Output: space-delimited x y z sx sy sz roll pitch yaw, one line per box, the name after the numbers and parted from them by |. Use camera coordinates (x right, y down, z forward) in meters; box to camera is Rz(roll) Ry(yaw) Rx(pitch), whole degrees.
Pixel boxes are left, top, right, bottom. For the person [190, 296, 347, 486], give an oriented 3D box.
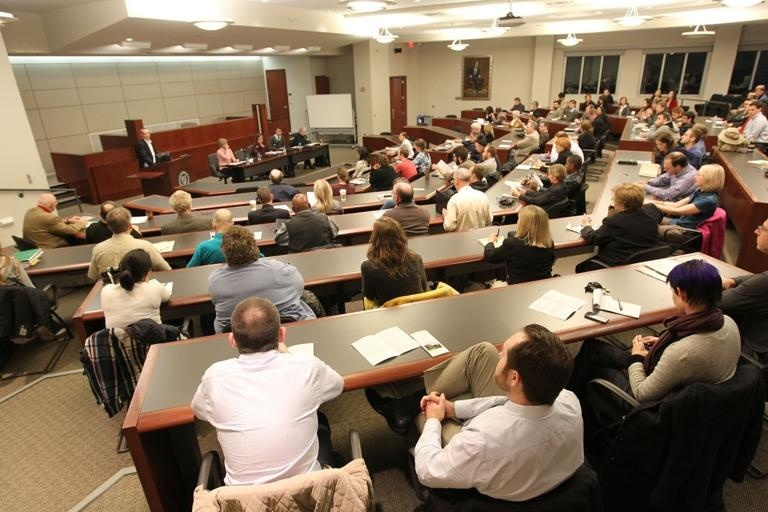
-0.867 1.159 3.284 0.802 1.740 1.020 7 25 -13 | person

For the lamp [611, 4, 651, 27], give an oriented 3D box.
5.429 -5.272 10.585 0.544 0.422 3.710 6 24 25 | lamp

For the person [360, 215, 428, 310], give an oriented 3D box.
0.096 0.082 4.288 0.601 0.913 0.624 -11 36 -2 | person

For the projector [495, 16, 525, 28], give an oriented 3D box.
2.233 -4.212 8.600 0.389 0.212 0.591 2 23 17 | projector

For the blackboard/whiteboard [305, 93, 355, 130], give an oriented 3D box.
-1.721 -4.778 16.170 2.026 1.374 1.078 -1 7 4 | blackboard/whiteboard

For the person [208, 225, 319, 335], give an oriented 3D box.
-0.998 0.215 4.067 0.842 1.222 0.696 -6 54 -1 | person

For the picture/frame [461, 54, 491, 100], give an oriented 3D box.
3.327 -6.563 17.477 1.448 1.930 0.138 9 21 28 | picture/frame

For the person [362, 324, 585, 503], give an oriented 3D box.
0.557 0.985 3.052 0.696 1.119 0.849 -23 45 -11 | person

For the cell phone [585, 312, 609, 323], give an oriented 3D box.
1.651 0.488 3.806 0.137 0.036 0.077 21 33 37 | cell phone

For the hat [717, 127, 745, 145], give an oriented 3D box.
5.660 -1.940 8.021 0.330 0.098 0.331 -42 59 -6 | hat

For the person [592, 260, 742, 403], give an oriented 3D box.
2.012 0.562 3.483 0.562 1.003 0.831 -20 23 -13 | person

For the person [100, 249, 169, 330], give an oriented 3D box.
-2.108 0.304 4.114 0.372 0.820 0.486 14 35 -14 | person
